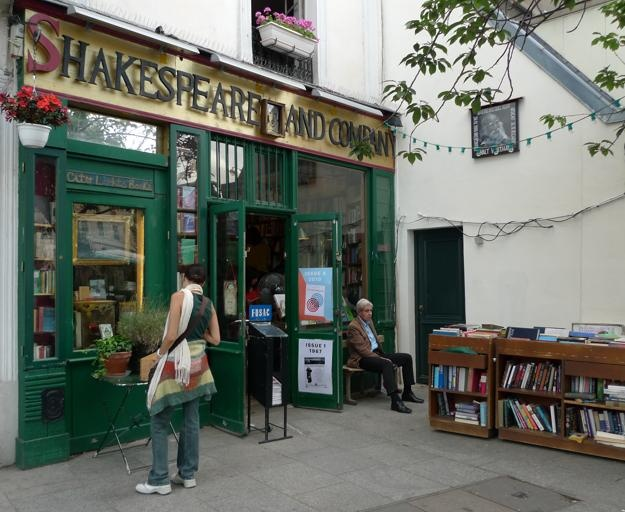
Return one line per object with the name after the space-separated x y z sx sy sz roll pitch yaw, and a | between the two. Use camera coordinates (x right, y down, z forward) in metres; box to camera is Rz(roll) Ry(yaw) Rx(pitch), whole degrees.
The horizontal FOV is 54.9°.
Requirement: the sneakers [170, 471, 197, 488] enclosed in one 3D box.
-1.104 1.920 5.196 0.089 0.116 0.244 2 -1 -38 | sneakers

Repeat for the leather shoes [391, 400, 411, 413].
1.095 1.911 7.607 0.102 0.142 0.308 2 -8 -37 | leather shoes

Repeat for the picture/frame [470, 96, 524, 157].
2.471 -1.710 7.976 0.092 0.994 0.885 3 -6 -42 | picture/frame

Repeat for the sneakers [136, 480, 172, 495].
-1.333 1.955 5.089 0.290 0.135 0.112 8 -8 3 | sneakers

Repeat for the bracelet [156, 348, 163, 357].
-1.288 0.816 5.056 0.025 0.074 0.109 -1 2 -32 | bracelet

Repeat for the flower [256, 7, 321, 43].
-0.344 -2.911 7.795 0.682 0.148 0.433 3 6 -43 | flower

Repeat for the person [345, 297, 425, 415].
0.947 1.290 8.029 0.930 1.389 1.029 0 2 13 | person

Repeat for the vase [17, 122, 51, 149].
-2.529 -1.073 5.474 0.211 0.154 0.220 6 -3 -21 | vase

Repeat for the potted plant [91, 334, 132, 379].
-1.896 0.957 5.717 0.348 0.387 0.262 0 2 -15 | potted plant

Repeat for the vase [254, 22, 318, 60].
-0.342 -2.783 7.837 0.814 0.284 0.285 -1 2 -42 | vase

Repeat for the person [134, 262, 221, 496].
-1.131 1.036 5.181 0.335 1.905 0.708 2 2 44 | person

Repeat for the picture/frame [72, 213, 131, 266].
-2.194 -0.166 6.175 0.049 0.467 0.496 -3 -3 44 | picture/frame

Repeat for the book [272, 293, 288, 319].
-0.442 0.669 7.993 0.121 0.340 0.234 -1 2 -33 | book
